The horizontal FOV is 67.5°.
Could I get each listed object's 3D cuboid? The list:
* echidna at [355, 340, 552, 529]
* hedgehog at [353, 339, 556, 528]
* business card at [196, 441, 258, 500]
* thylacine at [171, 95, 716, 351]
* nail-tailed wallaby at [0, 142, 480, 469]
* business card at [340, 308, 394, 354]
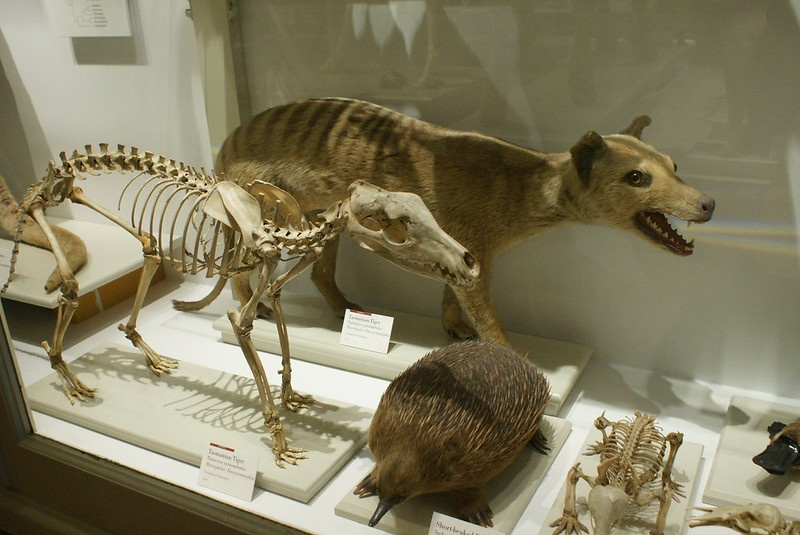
[{"bbox_3d":[0.175,0.436,1.700,0.379,0.228,0.591,16,43,32],"label":"echidna"},{"bbox_3d":[0.169,0.462,1.709,0.380,0.229,0.591,16,44,32],"label":"hedgehog"},{"bbox_3d":[-0.551,0.650,1.905,0.142,0.104,0.007,11,-11,24],"label":"business card"},{"bbox_3d":[0.059,-0.161,2.328,2.023,0.910,0.490,9,24,23],"label":"thylacine"},{"bbox_3d":[-0.574,0.148,2.165,1.465,0.840,0.449,19,37,10],"label":"nail-tailed wallaby"},{"bbox_3d":[-0.133,0.257,2.374,0.157,0.115,0.013,7,-19,22],"label":"business card"}]
